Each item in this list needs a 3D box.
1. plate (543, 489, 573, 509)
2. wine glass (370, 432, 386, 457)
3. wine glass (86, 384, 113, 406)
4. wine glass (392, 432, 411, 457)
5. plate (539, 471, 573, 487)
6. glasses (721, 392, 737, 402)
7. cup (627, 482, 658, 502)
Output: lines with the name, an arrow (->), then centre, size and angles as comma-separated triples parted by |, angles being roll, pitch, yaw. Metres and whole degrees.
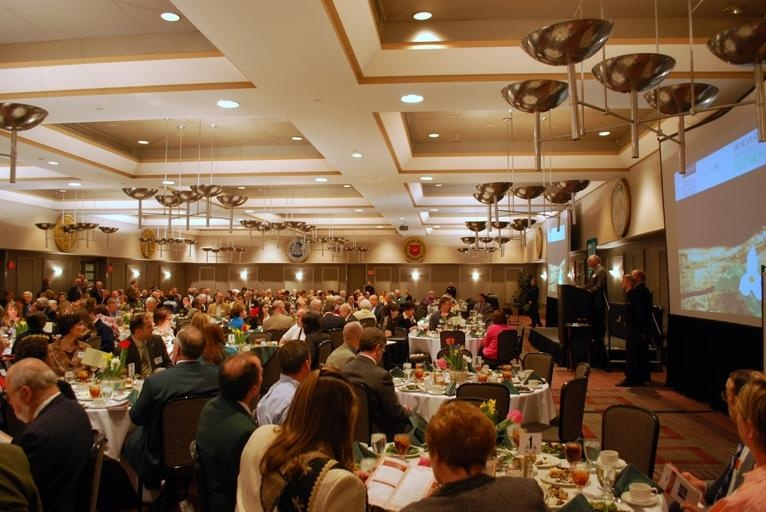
plate -> 1.401, 1.955, 4.482 | 0.173, 0.102, 0.306 | -4, -8, 40
wine glass -> -0.040, 1.697, 5.041 | 0.116, 0.182, 0.211 | 2, -6, -5
wine glass -> -3.323, 1.648, 6.549 | 0.202, 0.161, 0.220 | 2, -8, -4
wine glass -> 0.164, 1.672, 4.915 | 0.161, 0.240, 0.152 | 4, -6, -11
plate -> 1.467, 1.869, 4.732 | 0.273, 0.114, 0.261 | 0, -6, 9
glasses -> 2.869, 1.164, 4.607 | 0.123, 0.043, 0.119 | -1, -9, 20
cup -> 2.077, 1.893, 4.468 | 0.167, 0.086, 0.126 | -3, -12, 17
